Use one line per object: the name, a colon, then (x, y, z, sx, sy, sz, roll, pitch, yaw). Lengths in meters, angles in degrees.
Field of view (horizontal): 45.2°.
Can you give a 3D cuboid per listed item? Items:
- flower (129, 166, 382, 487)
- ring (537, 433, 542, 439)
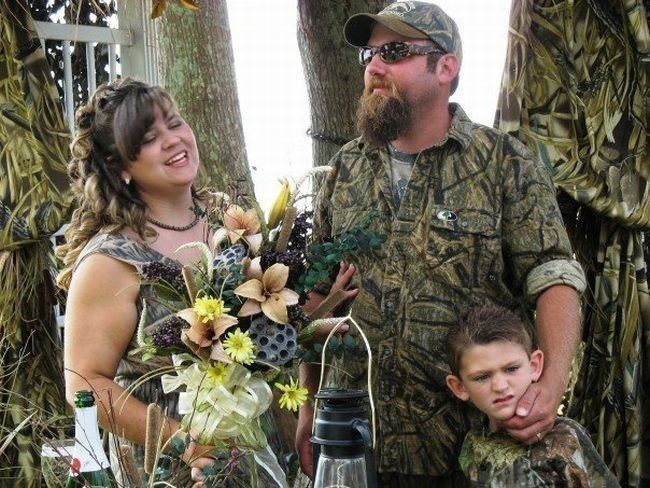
flower: (-0.288, 0.268, 3.011, 0.919, 1.305, 0.952, 0, -15, 6)
ring: (0.876, 0.787, 3.201, 0.005, 0.020, 0.019, 22, -11, -42)
